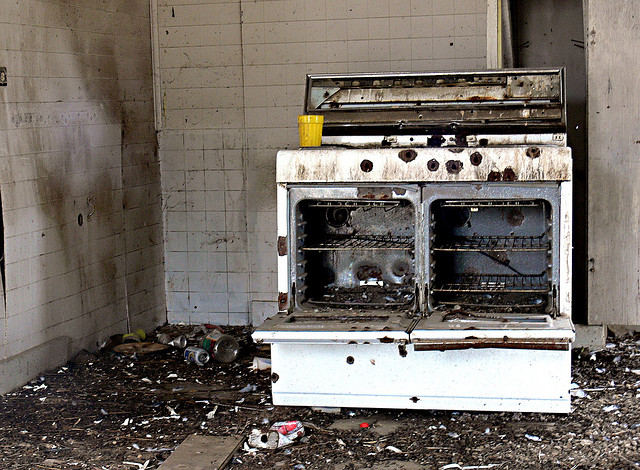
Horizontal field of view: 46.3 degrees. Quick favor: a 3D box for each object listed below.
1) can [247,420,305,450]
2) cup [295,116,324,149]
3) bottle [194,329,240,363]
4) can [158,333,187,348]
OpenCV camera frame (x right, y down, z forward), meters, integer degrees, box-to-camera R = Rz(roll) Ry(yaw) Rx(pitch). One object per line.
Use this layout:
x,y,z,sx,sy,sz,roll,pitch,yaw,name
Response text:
-0.292,1.262,4.734,0.245,0.097,0.191,-6,4,29,can
-0.059,-0.703,5.196,0.222,0.235,0.228,-1,3,0,cup
-0.766,0.907,6.153,0.259,0.253,0.450,7,1,-31,bottle
-1.269,0.890,6.333,0.104,0.093,0.248,10,-10,-44,can
